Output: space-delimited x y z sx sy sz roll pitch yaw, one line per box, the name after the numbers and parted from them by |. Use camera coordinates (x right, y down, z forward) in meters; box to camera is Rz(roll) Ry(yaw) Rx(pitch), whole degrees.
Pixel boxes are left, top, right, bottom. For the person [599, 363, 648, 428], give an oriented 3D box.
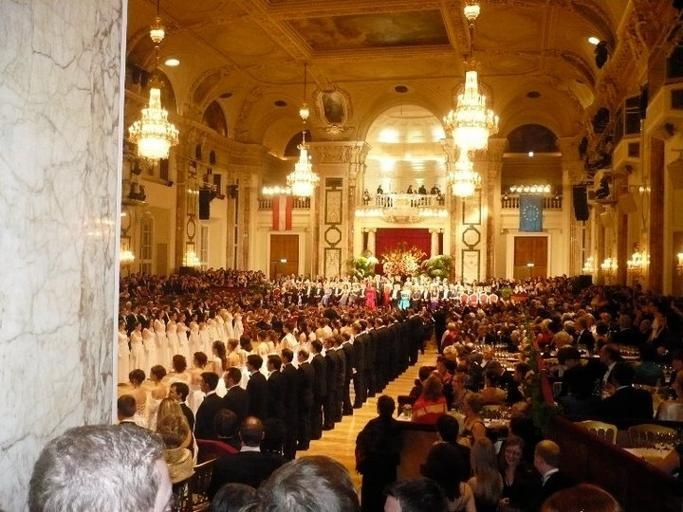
2.713 1.297 5.594 0.438 0.527 0.829 -2 -4 26 | person

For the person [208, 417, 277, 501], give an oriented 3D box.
-0.709 1.601 4.458 0.489 0.750 0.384 8 2 -10 | person

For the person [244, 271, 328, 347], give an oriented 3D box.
-1.445 1.551 15.908 1.496 1.074 1.993 -2 0 -30 | person

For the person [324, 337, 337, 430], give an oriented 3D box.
-0.180 2.122 9.262 0.191 1.288 0.557 0 -3 -1 | person

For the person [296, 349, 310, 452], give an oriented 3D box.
-0.510 2.059 8.373 0.201 1.435 0.306 0 -3 -4 | person
